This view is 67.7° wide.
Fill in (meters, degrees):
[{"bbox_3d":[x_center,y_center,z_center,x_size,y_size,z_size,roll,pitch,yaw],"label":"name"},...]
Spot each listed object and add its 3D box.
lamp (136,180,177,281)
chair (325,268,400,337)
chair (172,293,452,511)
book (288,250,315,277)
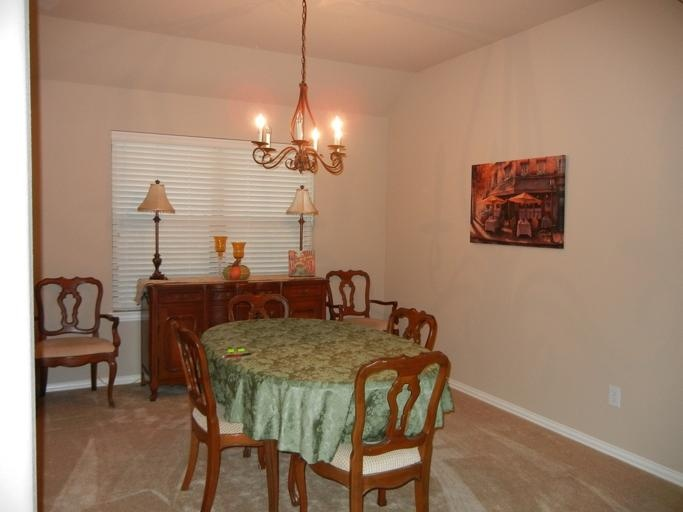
[{"bbox_3d":[-1.927,-0.289,5.317,0.330,1.048,0.499,0,4,-19],"label":"lamp"},{"bbox_3d":[0.242,0.528,6.132,0.709,1.052,0.691,-1,1,-21],"label":"chair"},{"bbox_3d":[-0.285,0.983,3.175,1.130,0.832,1.536,-1,1,-29],"label":"chair"},{"bbox_3d":[-0.455,0.091,5.805,0.262,0.277,0.091,1,-5,-25],"label":"book"}]
